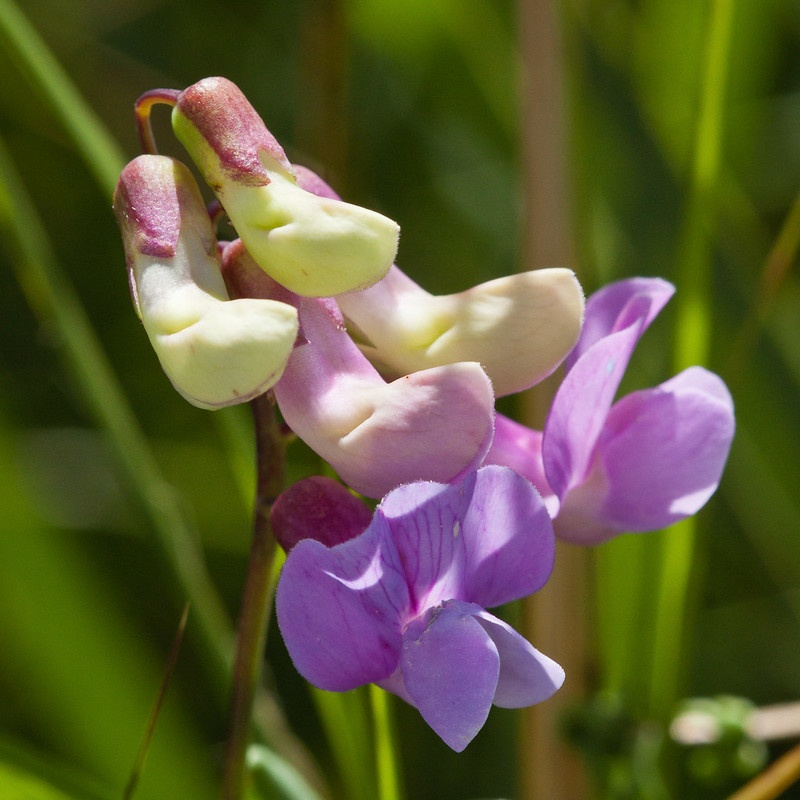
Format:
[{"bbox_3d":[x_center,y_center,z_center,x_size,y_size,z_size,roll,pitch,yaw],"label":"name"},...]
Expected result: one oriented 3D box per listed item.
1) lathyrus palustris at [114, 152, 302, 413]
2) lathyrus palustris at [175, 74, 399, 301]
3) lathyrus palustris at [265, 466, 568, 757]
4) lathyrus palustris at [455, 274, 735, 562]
[{"bbox_3d":[-0.103,-0.084,0.627,0.061,0.091,0.196,7,44,-38],"label":"lathyrus palustris"},{"bbox_3d":[-0.063,-0.131,0.622,0.070,0.076,0.168,-33,82,-33],"label":"lathyrus palustris"},{"bbox_3d":[0.008,0.093,0.557,0.150,0.152,0.072,-27,11,-9],"label":"lathyrus palustris"},{"bbox_3d":[0.113,0.017,0.650,0.149,0.109,0.137,-5,-6,9],"label":"lathyrus palustris"}]
